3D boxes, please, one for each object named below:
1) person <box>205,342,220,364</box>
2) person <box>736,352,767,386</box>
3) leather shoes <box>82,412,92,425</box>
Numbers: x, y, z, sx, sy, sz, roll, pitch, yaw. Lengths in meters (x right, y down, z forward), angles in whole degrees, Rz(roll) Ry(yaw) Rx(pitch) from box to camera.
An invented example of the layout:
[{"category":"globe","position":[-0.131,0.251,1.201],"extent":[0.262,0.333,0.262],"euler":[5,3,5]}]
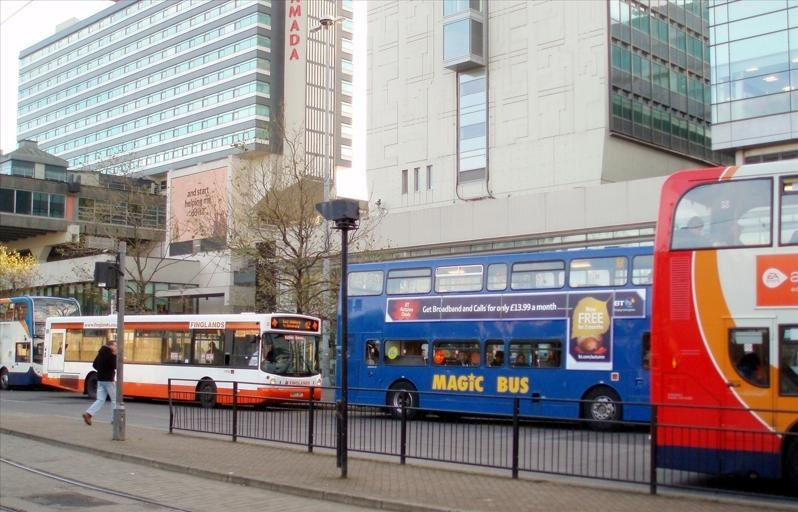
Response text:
[{"category":"person","position":[-7.753,4.083,37.866],"extent":[0.810,0.924,0.249],"euler":[5,11,36]},{"category":"person","position":[9.589,3.133,24.613],"extent":[0.642,0.931,0.332],"euler":[-21,-17,4]},{"category":"leather shoes","position":[-10.742,5.611,31.280],"extent":[0.191,0.457,0.144],"euler":[-15,9,-9]}]
